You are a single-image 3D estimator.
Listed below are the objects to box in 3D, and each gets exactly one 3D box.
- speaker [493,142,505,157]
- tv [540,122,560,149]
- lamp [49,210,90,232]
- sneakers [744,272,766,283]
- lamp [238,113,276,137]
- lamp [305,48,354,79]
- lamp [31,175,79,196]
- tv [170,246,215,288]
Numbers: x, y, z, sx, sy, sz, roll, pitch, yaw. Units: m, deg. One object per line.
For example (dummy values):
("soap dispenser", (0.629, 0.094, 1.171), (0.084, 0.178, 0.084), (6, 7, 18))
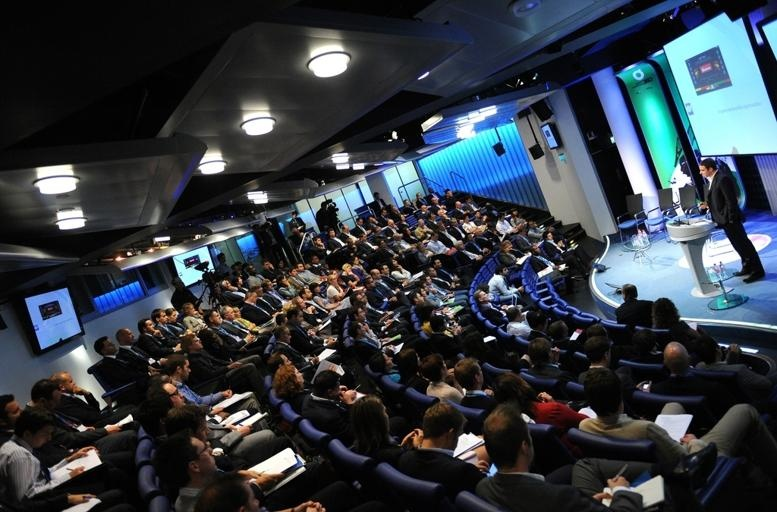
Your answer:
("speaker", (4.664, -4.441, 20.286), (0.369, 0.356, 0.659), (-33, 13, 7))
("tv", (5.062, -3.692, 15.009), (0.287, 0.588, 0.622), (-15, 5, -1))
("lamp", (-4.302, -0.503, 6.525), (0.380, 0.255, 0.371), (-10, 3, -17))
("sneakers", (5.980, 0.344, 7.979), (0.402, 0.166, 0.134), (-4, 8, 7))
("lamp", (-1.594, -1.587, 5.912), (0.437, 0.236, 0.486), (-14, 4, -8))
("lamp", (-0.597, -1.911, 4.872), (0.452, 0.217, 0.282), (-14, 5, -1))
("lamp", (-3.377, -0.725, 4.941), (0.396, 0.107, 0.487), (-16, 5, -33))
("tv", (-6.990, 0.395, 17.048), (1.149, 1.171, 0.116), (-42, 23, -30))
